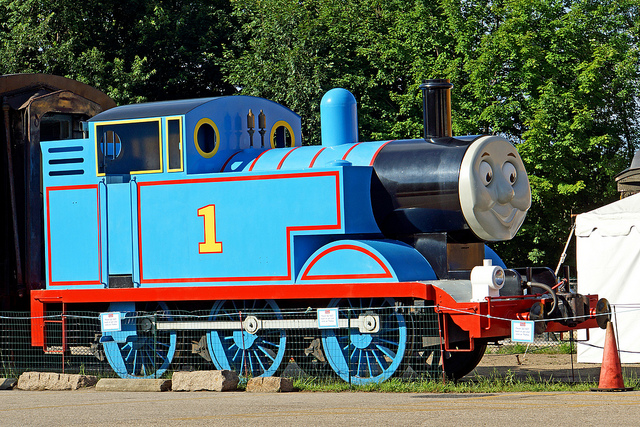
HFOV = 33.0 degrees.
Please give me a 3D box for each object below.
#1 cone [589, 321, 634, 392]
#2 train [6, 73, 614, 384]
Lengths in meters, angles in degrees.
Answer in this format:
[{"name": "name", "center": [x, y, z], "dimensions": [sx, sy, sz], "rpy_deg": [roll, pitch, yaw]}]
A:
[{"name": "cone", "center": [5.183, 2.592, 19.152], "dimensions": [0.699, 1.213, 0.408], "rpy_deg": [0, 0, 14]}, {"name": "train", "center": [-1.243, 0.599, 23.018], "dimensions": [13.514, 6.031, 5.552], "rpy_deg": [-2, -2, 27]}]
